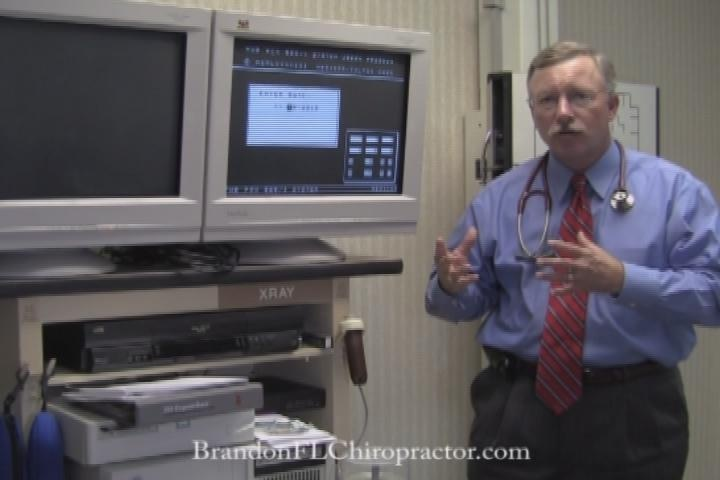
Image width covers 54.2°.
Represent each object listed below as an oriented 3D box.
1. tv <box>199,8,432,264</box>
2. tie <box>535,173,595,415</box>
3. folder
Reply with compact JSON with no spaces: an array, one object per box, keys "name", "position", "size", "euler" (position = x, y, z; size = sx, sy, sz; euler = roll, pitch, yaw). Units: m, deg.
[{"name":"tv","position":[-0.131,-0.352,2.216],"size":[0.738,0.684,0.088],"euler":[-3,5,-17]},{"name":"tie","position":[0.582,0.154,2.127],"size":[0.142,0.708,0.198],"euler":[5,12,20]},{"name":"folder","position":[-0.648,0.500,2.159],"size":[0.509,0.113,0.564],"euler":[-6,-6,43]}]
